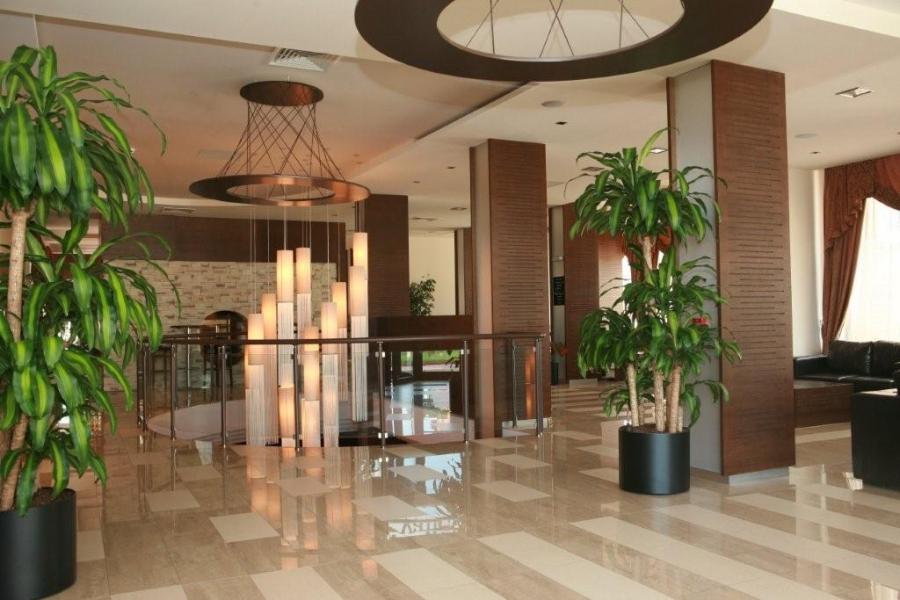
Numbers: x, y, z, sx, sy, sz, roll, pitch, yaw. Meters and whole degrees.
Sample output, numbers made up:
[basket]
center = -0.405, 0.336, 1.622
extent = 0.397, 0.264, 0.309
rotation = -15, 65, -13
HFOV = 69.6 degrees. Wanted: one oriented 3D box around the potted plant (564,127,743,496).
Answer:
[potted plant]
center = 2.042, -0.034, 6.724
extent = 1.387, 3.320, 2.982
rotation = 1, 5, 13
